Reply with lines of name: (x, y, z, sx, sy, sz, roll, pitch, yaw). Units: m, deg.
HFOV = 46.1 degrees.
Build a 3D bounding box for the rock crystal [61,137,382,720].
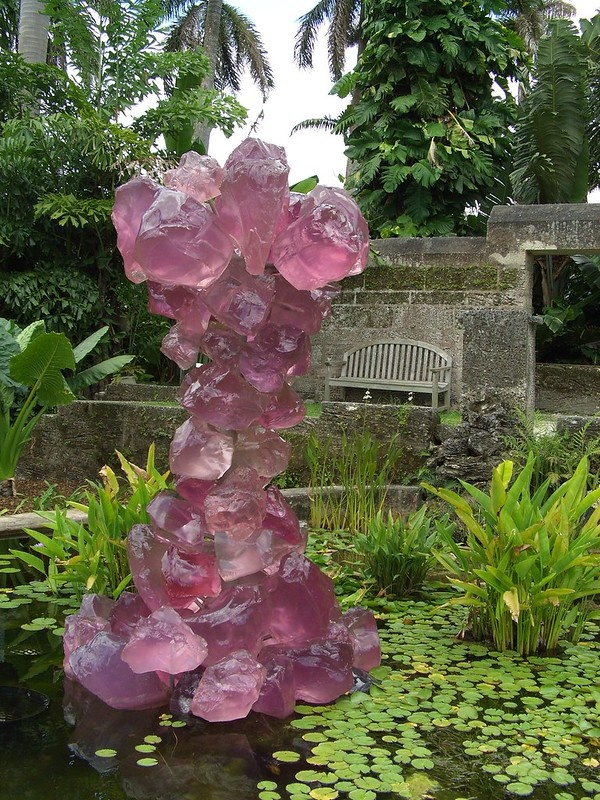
rock crystal: (-0.212, 0.068, 2.053, 0.869, 1.640, 0.522, 2, -3, -6)
